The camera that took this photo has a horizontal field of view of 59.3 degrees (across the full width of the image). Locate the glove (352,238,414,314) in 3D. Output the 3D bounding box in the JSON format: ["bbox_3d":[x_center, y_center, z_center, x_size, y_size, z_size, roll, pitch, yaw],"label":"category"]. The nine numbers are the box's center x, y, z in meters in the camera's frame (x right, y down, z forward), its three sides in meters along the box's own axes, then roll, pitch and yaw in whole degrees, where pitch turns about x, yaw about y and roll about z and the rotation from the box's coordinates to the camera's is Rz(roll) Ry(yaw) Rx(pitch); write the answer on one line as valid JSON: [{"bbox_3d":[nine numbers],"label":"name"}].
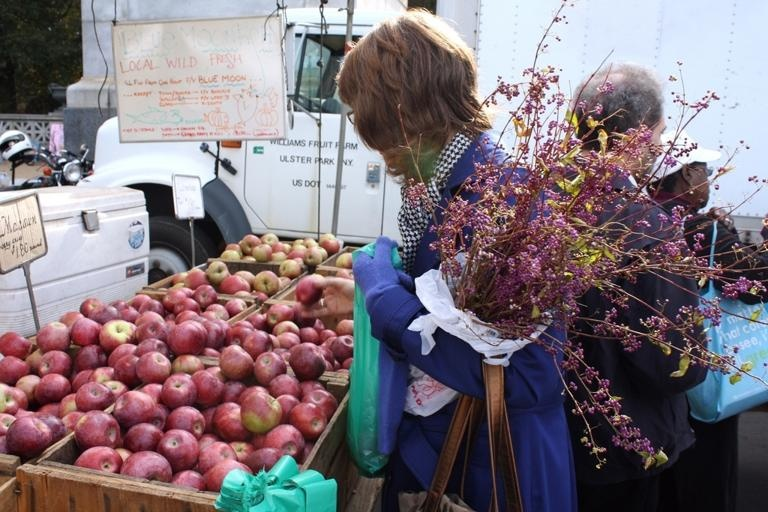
[{"bbox_3d":[0.019,0.090,3.295,0.322,0.346,0.147,-22,-25,27],"label":"glove"}]

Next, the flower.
[{"bbox_3d":[0.906,0.051,3.068,1.252,2.285,1.147,-11,19,-41],"label":"flower"}]
